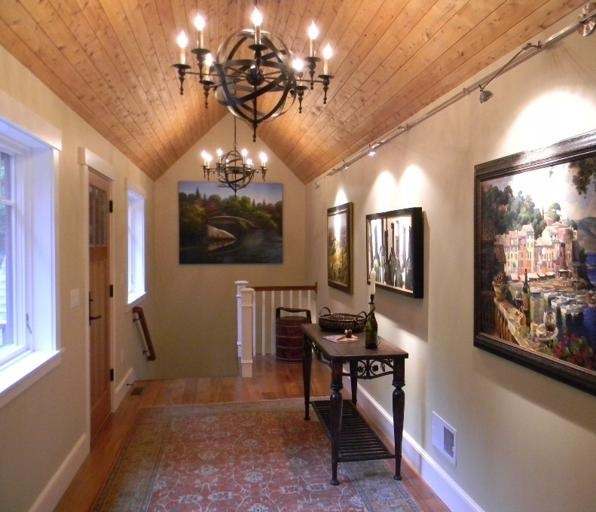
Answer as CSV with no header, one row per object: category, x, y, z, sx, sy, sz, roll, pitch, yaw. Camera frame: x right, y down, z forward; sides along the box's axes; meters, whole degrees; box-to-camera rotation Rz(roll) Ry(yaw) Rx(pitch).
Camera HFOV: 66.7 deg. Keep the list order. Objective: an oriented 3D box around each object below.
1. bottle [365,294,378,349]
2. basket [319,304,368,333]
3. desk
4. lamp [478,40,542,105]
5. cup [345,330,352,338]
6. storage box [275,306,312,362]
bottle,0.571,0.484,3.521,0.093,0.411,0.286,0,3,11
basket,0.376,0.582,4.063,0.241,0.170,0.316,1,-2,-40
desk,0.414,1.198,3.972,0.542,0.989,1.398,1,-1,-8
lamp,1.098,-0.970,2.407,0.086,0.168,0.430,-28,10,-8
cup,0.418,0.652,3.813,0.043,0.073,0.048,0,-12,-1
storage box,-0.124,1.129,6.650,0.689,1.088,0.670,0,-3,-1
